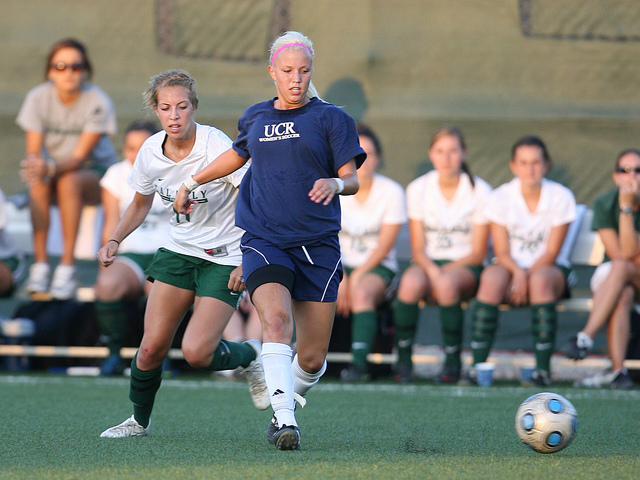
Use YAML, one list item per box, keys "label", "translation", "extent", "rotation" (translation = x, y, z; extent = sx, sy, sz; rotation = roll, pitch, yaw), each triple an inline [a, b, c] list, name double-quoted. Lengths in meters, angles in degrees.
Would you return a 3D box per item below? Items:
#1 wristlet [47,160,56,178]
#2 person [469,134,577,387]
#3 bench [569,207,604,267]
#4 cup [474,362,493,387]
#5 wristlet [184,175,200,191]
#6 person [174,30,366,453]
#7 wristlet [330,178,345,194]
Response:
- label: "wristlet"
  translation: [-2.445, -0.644, 11.277]
  extent: [0.031, 0.111, 0.108]
  rotation: [3, 15, 16]
- label: "person"
  translation: [1.794, 0.163, 10.754]
  extent: [0.980, 2.139, 0.709]
  rotation: [1, 3, -1]
- label: "bench"
  translation: [2.442, -0.001, 11.461]
  extent: [0.441, 0.593, 0.420]
  rotation: [3, -4, 7]
- label: "cup"
  translation: [1.414, 1.150, 10.597]
  extent: [0.160, 0.184, 0.174]
  rotation: [-1, -4, 0]
- label: "wristlet"
  translation: [-0.889, -0.392, 8.564]
  extent: [0.094, 0.084, 0.101]
  rotation: [35, 11, -27]
- label: "person"
  translation: [-0.193, -0.020, 8.460]
  extent: [0.661, 2.801, 0.906]
  rotation: [-2, 4, -43]
- label: "wristlet"
  translation: [0.116, -0.355, 8.162]
  extent: [0.059, 0.087, 0.084]
  rotation: [-1, 9, -14]
